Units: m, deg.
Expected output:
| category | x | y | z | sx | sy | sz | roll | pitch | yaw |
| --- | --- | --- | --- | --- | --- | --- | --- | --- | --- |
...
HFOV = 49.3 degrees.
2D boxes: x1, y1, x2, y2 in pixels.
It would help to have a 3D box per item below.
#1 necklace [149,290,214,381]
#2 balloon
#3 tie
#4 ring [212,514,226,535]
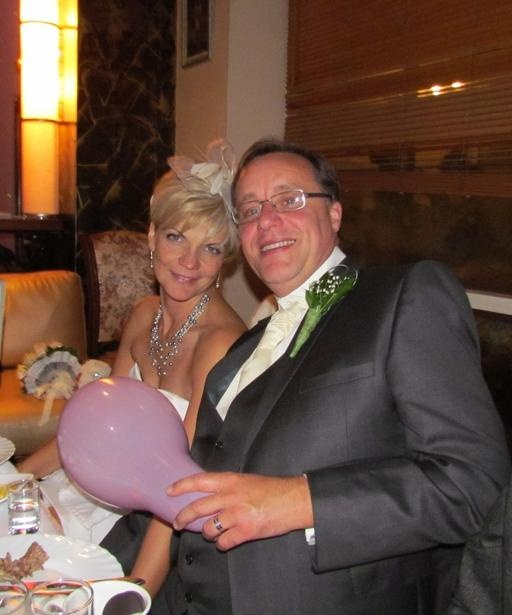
| category | x | y | z | sx | sy | sz | roll | pitch | yaw |
| --- | --- | --- | --- | --- | --- | --- | --- | --- | --- |
| necklace | -0.280 | 0.092 | 2.045 | 0.045 | 0.294 | 0.236 | 35 | -30 | -34 |
| balloon | -0.222 | 0.260 | 1.044 | 0.279 | 0.238 | 0.159 | 3 | 11 | 12 |
| tie | 0.038 | 0.094 | 1.415 | 0.060 | 0.242 | 0.149 | 40 | -6 | 10 |
| ring | -0.066 | 0.375 | 0.961 | 0.026 | 0.032 | 0.008 | 10 | 14 | 40 |
